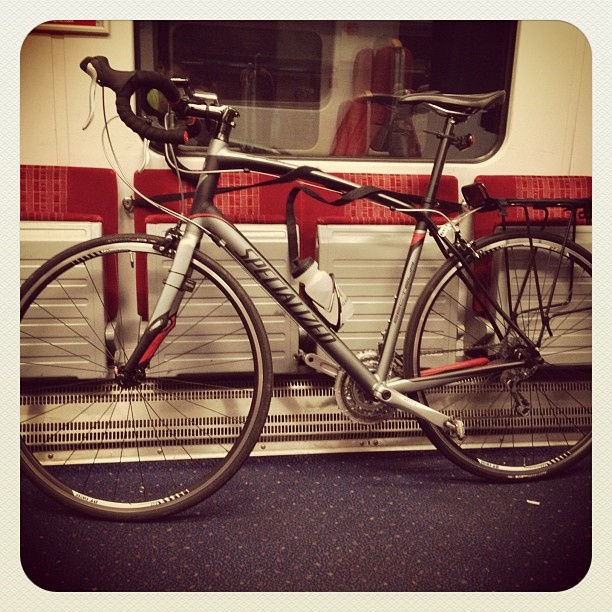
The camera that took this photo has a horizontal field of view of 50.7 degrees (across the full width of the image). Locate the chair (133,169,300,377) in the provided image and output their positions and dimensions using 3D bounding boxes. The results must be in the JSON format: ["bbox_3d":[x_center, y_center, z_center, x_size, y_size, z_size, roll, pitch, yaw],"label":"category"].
[{"bbox_3d":[-0.311,-0.087,2.205,0.655,0.726,0.382,0,5,-6],"label":"chair"}]

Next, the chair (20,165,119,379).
[{"bbox_3d":[-0.843,-0.127,2.309,0.334,0.714,0.329,-1,13,-19],"label":"chair"}]

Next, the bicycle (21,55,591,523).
[{"bbox_3d":[0.044,-0.057,2.247,2.055,1.395,0.598,1,12,-10],"label":"bicycle"}]
